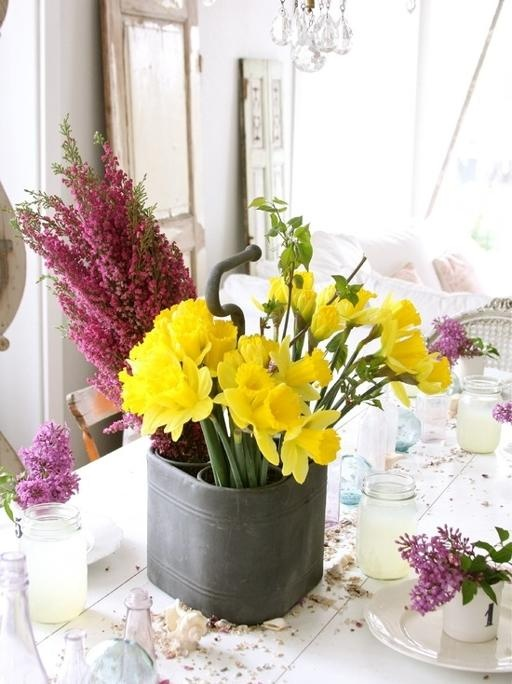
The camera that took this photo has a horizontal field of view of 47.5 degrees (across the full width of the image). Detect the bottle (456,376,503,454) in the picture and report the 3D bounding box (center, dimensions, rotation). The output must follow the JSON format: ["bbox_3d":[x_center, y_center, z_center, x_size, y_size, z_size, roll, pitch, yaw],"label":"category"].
[{"bbox_3d":[0.515,0.173,1.364,0.095,0.166,0.119,4,9,19],"label":"bottle"}]

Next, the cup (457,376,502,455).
[{"bbox_3d":[0.515,0.173,1.364,0.095,0.166,0.119,4,9,19],"label":"cup"}]

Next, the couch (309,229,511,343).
[{"bbox_3d":[0.671,-0.434,2.859,0.747,0.232,0.778,32,0,-24],"label":"couch"}]

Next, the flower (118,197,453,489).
[{"bbox_3d":[0.019,0.029,0.732,0.396,0.378,0.340,0,4,7],"label":"flower"}]

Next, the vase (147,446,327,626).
[{"bbox_3d":[-0.014,0.233,0.778,0.213,0.160,0.192,11,16,36],"label":"vase"}]
